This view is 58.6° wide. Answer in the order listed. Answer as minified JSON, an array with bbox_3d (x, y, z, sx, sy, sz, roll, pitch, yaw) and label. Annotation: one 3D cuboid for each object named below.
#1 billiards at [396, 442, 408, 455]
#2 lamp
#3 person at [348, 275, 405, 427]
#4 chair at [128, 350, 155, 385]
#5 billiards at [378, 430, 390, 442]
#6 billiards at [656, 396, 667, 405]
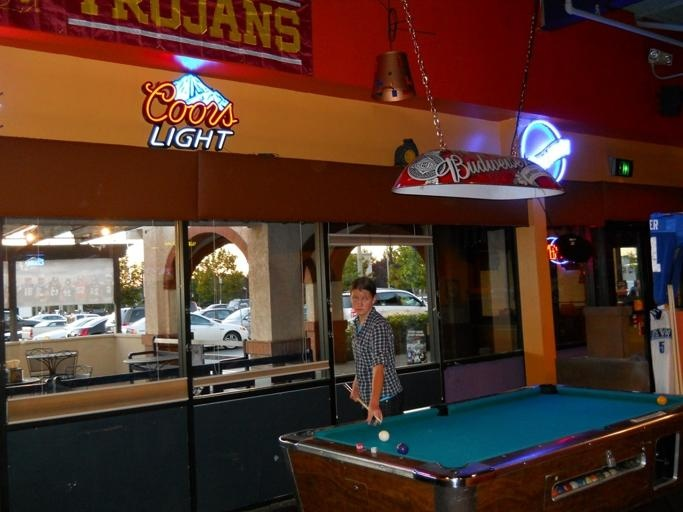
[{"bbox_3d":[0.385,1.231,3.864,0.052,0.066,0.056,2,19,11],"label":"billiards"},{"bbox_3d":[1.168,-1.518,5.454,1.293,1.994,2.196,1,5,8],"label":"lamp"},{"bbox_3d":[0.245,0.735,4.874,0.324,1.127,0.430,-2,-2,43],"label":"person"},{"bbox_3d":[-1.725,0.962,5.278,0.242,0.374,0.204,4,-8,-34],"label":"chair"},{"bbox_3d":[0.293,1.231,4.141,0.066,0.070,0.037,-23,-5,19],"label":"billiards"},{"bbox_3d":[2.515,1.122,4.764,0.058,0.034,0.060,-18,19,1],"label":"billiards"}]
